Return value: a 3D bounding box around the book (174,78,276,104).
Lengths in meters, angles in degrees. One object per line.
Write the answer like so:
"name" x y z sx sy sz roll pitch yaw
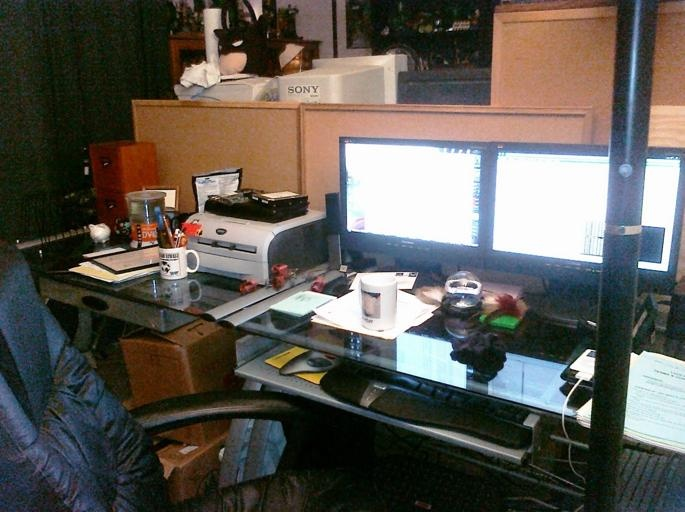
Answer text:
"book" -0.467 -0.660 2.278 0.450 0.084 0.127 4 18 20

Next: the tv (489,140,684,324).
"tv" 0.541 -0.061 1.262 0.449 0.397 0.150 11 23 37

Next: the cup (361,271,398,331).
"cup" 0.095 0.117 1.424 0.093 0.113 0.141 2 15 10

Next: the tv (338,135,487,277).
"tv" 0.217 -0.163 1.700 0.452 0.318 0.048 10 22 31

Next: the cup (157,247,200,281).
"cup" -0.526 0.018 1.880 0.143 0.099 0.087 9 13 8

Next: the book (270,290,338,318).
"book" -0.107 0.134 1.582 0.120 0.015 0.159 -16 13 -32

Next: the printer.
"printer" -0.235 -0.097 1.838 0.337 0.150 0.255 11 18 35
